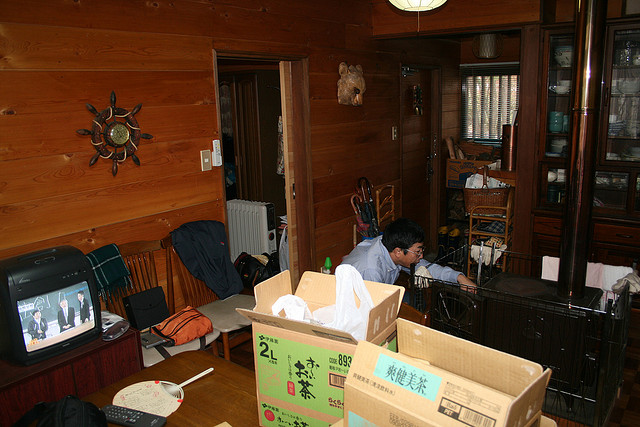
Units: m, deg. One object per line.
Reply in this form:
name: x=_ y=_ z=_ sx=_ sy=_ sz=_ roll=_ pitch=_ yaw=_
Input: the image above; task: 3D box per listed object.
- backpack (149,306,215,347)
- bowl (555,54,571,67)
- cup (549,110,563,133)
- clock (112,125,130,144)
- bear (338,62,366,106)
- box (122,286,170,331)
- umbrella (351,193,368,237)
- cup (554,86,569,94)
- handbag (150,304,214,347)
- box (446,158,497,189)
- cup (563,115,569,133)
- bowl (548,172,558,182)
backpack: x=-0.985 y=0.828 z=3.069 sx=0.310 sy=0.105 sz=0.270 roll=-15 pitch=31 yaw=-38
bowl: x=2.495 y=-1.576 z=4.322 sx=0.130 sy=0.108 sz=0.133 roll=-2 pitch=11 yaw=0
cup: x=2.473 y=-0.972 z=4.396 sx=0.125 sy=0.223 sz=0.072 roll=-1 pitch=16 yaw=1
clock: x=-1.526 y=-0.607 z=3.206 sx=0.026 sy=0.139 sz=0.126 roll=9 pitch=19 yaw=32
bear: x=0.349 y=-1.499 z=4.852 sx=0.171 sy=0.481 sz=0.470 roll=13 pitch=19 yaw=40
box: x=-1.291 y=0.707 z=3.091 sx=0.091 sy=0.237 sz=0.253 roll=-12 pitch=6 yaw=44
umbrella: x=0.482 y=-0.001 z=5.094 sx=0.148 sy=0.525 sz=0.189 roll=-21 pitch=6 yaw=-29
cup: x=2.513 y=-1.296 z=4.373 sx=0.090 sy=0.054 sz=0.092 roll=1 pitch=6 yaw=0
handbag: x=-0.995 y=0.825 z=3.068 sx=0.314 sy=0.127 sz=0.262 roll=-12 pitch=28 yaw=-35
box: x=2.227 y=-0.618 z=6.168 sx=0.662 sy=0.455 sz=0.375 roll=9 pitch=22 yaw=38
cup: x=2.550 y=-0.936 z=4.364 sx=0.037 sy=0.176 sz=0.082 roll=2 pitch=16 yaw=11
bowl: x=2.490 y=-0.389 z=4.495 sx=0.088 sy=0.098 sz=0.032 roll=7 pitch=18 yaw=28
